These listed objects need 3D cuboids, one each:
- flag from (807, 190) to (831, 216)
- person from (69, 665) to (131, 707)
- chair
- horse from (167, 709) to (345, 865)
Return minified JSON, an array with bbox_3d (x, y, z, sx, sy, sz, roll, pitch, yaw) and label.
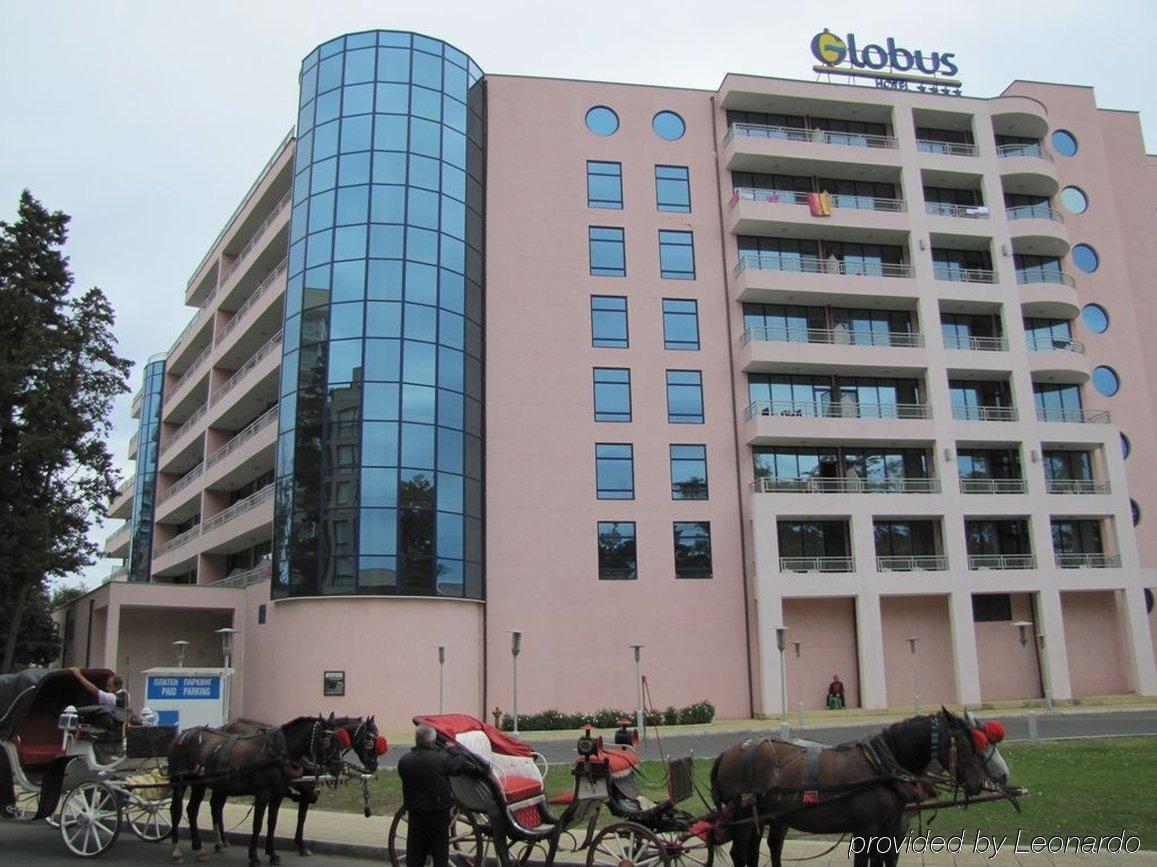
[{"bbox_3d":[12.278,-11.715,48.262,1.274,1.205,0.413,3,2,32],"label":"flag"},{"bbox_3d":[-9.315,5.103,18.855,0.810,0.863,1.164,4,-5,23],"label":"person"},{"bbox_3d":[-1.837,5.787,16.219,1.909,1.895,2.302,20,-28,-40],"label":"chair"},{"bbox_3d":[-6.091,6.549,17.436,3.110,2.517,1.146,-9,-19,23],"label":"horse"}]
